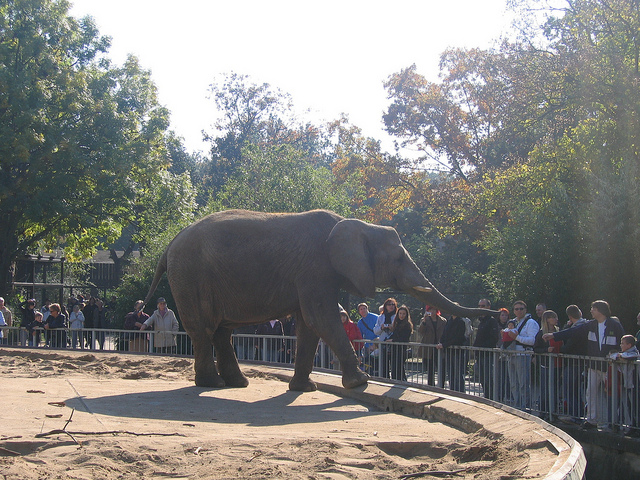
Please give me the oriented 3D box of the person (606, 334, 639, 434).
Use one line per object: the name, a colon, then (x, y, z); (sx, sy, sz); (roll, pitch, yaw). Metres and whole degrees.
person: (6.486, 3.067, 18.797); (0.599, 2.072, 0.734); (-5, -10, 21)
